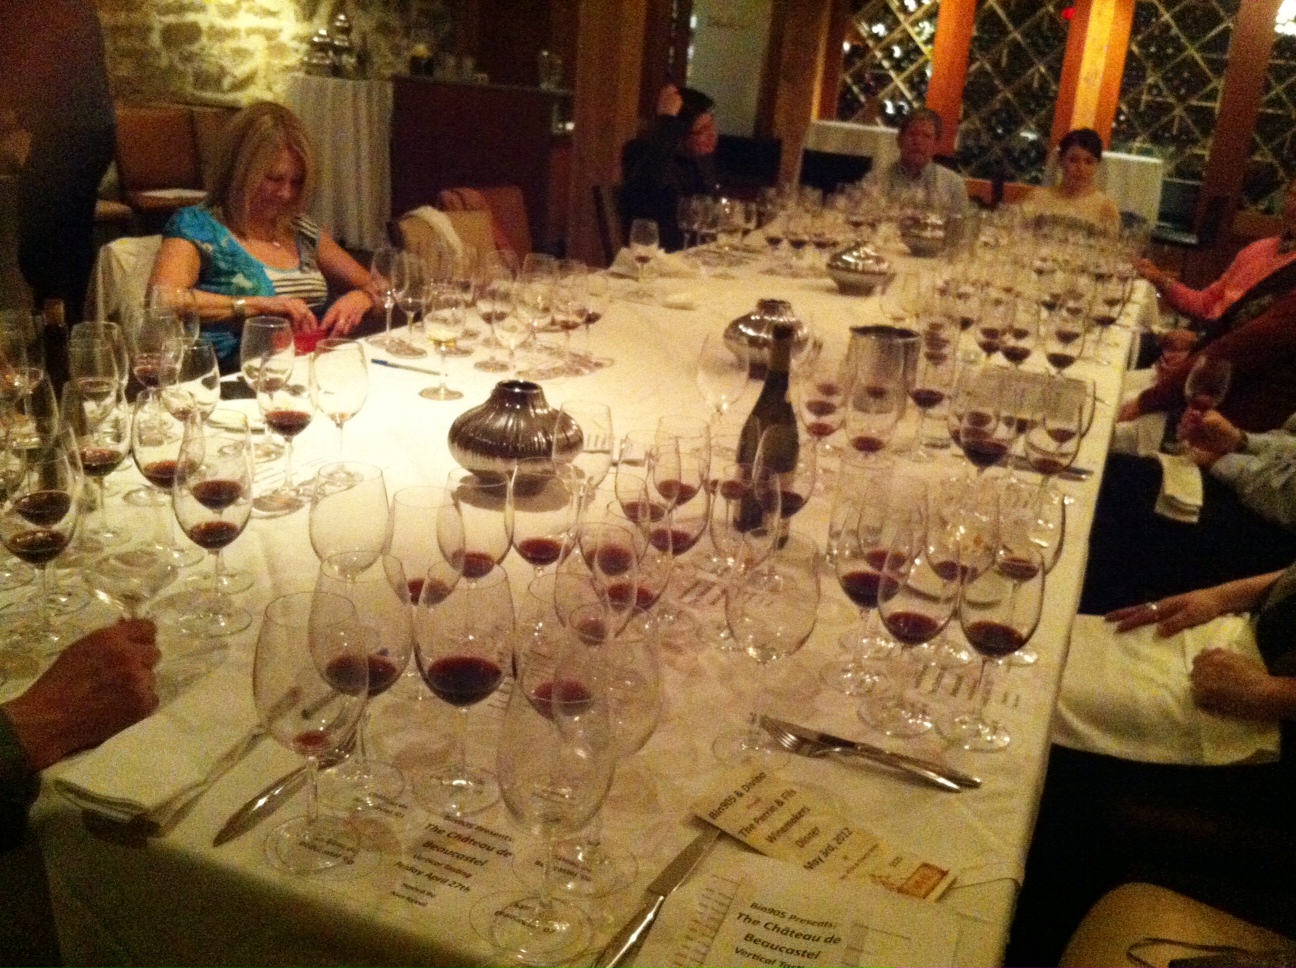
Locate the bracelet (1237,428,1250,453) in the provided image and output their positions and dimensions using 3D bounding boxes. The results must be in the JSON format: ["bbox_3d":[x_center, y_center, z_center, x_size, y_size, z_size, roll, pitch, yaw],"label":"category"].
[{"bbox_3d":[2.083,-0.158,3.491,0.027,0.032,0.083,2,52,30],"label":"bracelet"}]

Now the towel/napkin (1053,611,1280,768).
[{"bbox_3d":[1.140,0.467,2.275,0.445,0.167,0.459,-1,26,18],"label":"towel/napkin"}]

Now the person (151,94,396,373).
[{"bbox_3d":[-1.433,-0.773,3.807,0.729,1.253,0.762,0,21,-28],"label":"person"}]

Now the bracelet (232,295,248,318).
[{"bbox_3d":[-1.409,-0.618,3.456,0.025,0.073,0.070,-2,16,-33],"label":"bracelet"}]

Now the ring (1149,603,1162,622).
[{"bbox_3d":[1.261,0.311,2.480,0.021,0.009,0.030,9,59,-15],"label":"ring"}]
